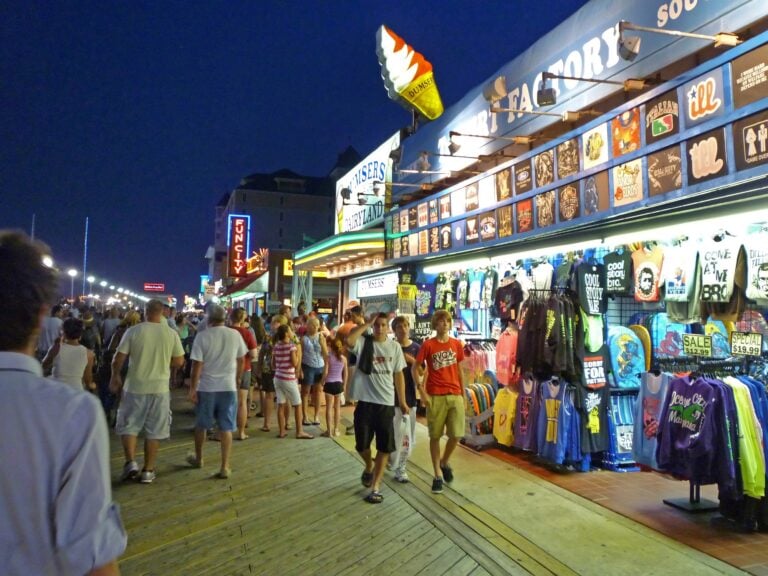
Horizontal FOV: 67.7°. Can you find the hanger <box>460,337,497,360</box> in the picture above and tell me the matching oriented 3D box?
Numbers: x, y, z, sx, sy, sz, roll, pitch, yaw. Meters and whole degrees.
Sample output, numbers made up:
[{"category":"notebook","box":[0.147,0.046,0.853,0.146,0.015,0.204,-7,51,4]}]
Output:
[{"category":"hanger","box":[1.700,1.104,10.207,0.435,0.223,0.500,2,-8,-8]}]

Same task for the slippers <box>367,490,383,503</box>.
[{"category":"slippers","box":[-0.118,2.475,6.834,0.223,0.161,0.246,1,0,4]}]

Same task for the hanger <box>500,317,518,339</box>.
[{"category":"hanger","box":[2.140,0.688,9.779,0.084,0.344,0.312,0,1,-16]}]

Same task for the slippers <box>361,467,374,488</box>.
[{"category":"slippers","box":[-0.202,2.404,7.213,0.194,0.173,0.563,1,-3,-3]}]

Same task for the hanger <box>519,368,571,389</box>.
[{"category":"hanger","box":[2.357,1.348,8.517,0.137,0.239,0.865,1,0,-44]}]
